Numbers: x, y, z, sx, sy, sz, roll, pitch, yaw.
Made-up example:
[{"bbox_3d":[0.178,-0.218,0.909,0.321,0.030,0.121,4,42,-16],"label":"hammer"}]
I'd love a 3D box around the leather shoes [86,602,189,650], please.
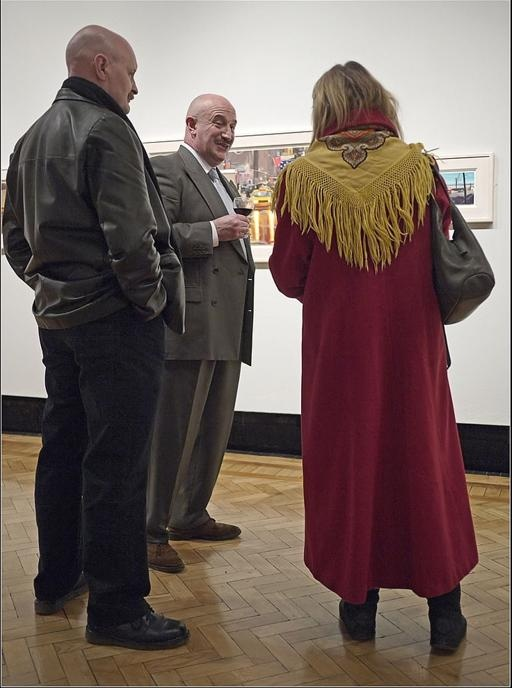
[{"bbox_3d":[-0.331,0.806,1.814,0.300,0.183,0.114,1,-9,-8],"label":"leather shoes"}]

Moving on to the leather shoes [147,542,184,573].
[{"bbox_3d":[-0.352,0.829,2.412,0.209,0.082,0.077,2,3,25],"label":"leather shoes"}]

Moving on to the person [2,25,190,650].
[{"bbox_3d":[-0.490,-0.018,1.822,0.563,1.802,0.381,1,3,31],"label":"person"}]

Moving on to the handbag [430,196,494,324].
[{"bbox_3d":[0.598,-0.231,1.762,0.165,0.349,0.220,1,3,26],"label":"handbag"}]

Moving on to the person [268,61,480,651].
[{"bbox_3d":[0.327,0.033,1.804,0.615,1.691,0.310,1,3,18],"label":"person"}]

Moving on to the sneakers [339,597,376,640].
[{"bbox_3d":[0.306,0.818,1.859,0.068,0.110,0.169,0,3,-7],"label":"sneakers"}]

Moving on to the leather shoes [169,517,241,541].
[{"bbox_3d":[-0.219,0.842,2.741,0.298,0.122,0.113,-2,-3,-5],"label":"leather shoes"}]
